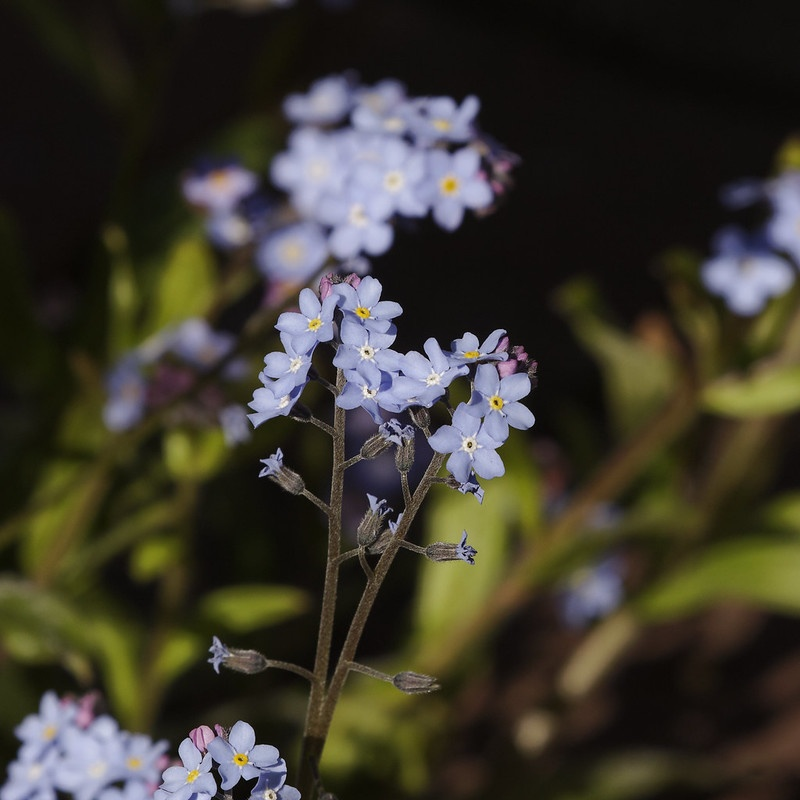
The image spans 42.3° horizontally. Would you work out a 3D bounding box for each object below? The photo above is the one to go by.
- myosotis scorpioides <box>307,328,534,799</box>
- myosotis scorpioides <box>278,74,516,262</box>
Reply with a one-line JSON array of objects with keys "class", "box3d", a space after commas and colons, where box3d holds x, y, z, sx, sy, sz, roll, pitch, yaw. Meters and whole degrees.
[{"class": "myosotis scorpioides", "box3d": [-0.017, 0.110, 0.767, 0.182, 0.272, 0.302, 10, 4, 4]}, {"class": "myosotis scorpioides", "box3d": [-0.019, -0.207, 0.864, 0.098, 0.113, 0.286, 7, 6, -32]}]
